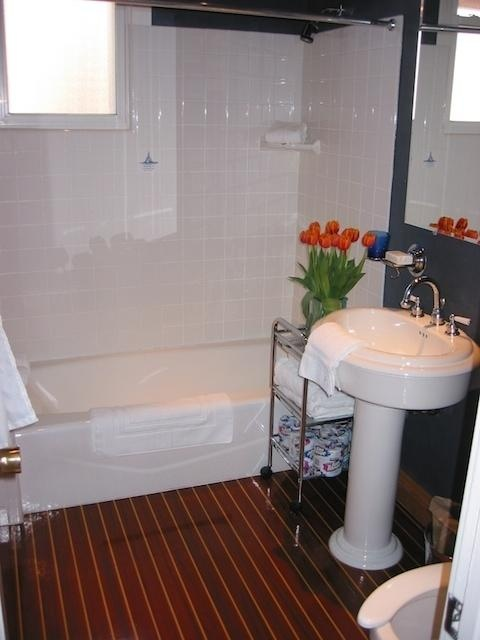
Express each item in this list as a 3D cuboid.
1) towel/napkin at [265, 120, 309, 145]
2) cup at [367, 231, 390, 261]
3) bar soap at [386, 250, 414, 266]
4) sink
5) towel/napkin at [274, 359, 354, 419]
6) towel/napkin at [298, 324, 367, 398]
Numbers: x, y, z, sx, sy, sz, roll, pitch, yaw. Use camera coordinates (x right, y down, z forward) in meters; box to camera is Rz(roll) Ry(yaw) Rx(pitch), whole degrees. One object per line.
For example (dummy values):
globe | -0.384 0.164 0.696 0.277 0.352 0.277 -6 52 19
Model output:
towel/napkin | 0.290 -1.190 2.936 0.194 0.074 0.163 4 55 8
cup | 0.594 -0.342 2.069 0.111 0.141 0.118 -1 16 0
bar soap | 0.626 -0.254 1.819 0.058 0.043 0.083 -8 21 -16
sink | 0.542 0.144 1.534 0.393 0.192 0.437 -5 24 -14
towel/napkin | 0.355 0.272 2.030 0.243 0.094 0.251 0 14 -32
towel/napkin | 0.324 0.146 1.642 0.080 0.234 0.226 6 20 -31
